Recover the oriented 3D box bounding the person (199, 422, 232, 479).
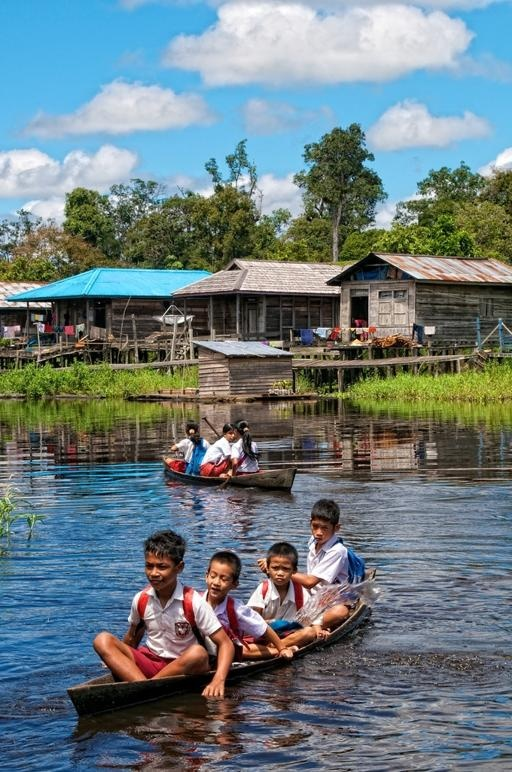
[{"bbox_3d":[-0.461,0.927,15.741,0.521,0.874,0.404,4,5,-4],"label":"person"}]

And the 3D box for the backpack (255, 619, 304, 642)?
[{"bbox_3d":[0.154,1.671,8.058,0.221,0.078,0.213,-1,2,-32],"label":"backpack"}]

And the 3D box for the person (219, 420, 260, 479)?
[{"bbox_3d":[-0.239,0.850,15.545,0.492,0.777,0.595,-2,-3,-35],"label":"person"}]

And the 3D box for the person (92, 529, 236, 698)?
[{"bbox_3d":[-0.540,1.398,7.264,1.009,0.961,0.580,-4,-5,26],"label":"person"}]

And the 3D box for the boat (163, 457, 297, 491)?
[{"bbox_3d":[-0.425,1.222,15.554,2.681,0.421,0.590,-1,1,41],"label":"boat"}]

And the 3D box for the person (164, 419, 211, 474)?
[{"bbox_3d":[-0.887,0.980,16.374,0.497,0.959,0.388,-14,24,-41],"label":"person"}]
